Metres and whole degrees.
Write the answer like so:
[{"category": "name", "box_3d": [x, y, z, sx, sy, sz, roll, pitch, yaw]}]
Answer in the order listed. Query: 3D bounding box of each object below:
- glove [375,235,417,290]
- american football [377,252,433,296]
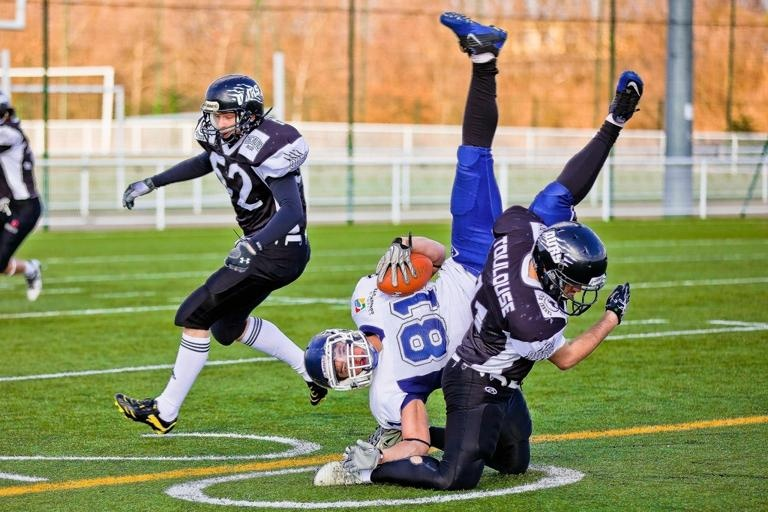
[{"category": "glove", "box_3d": [0.101, 0.020, 11.332, 0.331, 0.516, 0.266, 3, 2, 36]}, {"category": "american football", "box_3d": [0.207, 0.192, 11.319, 0.477, 0.271, 0.304, -17, -20, -31]}]
